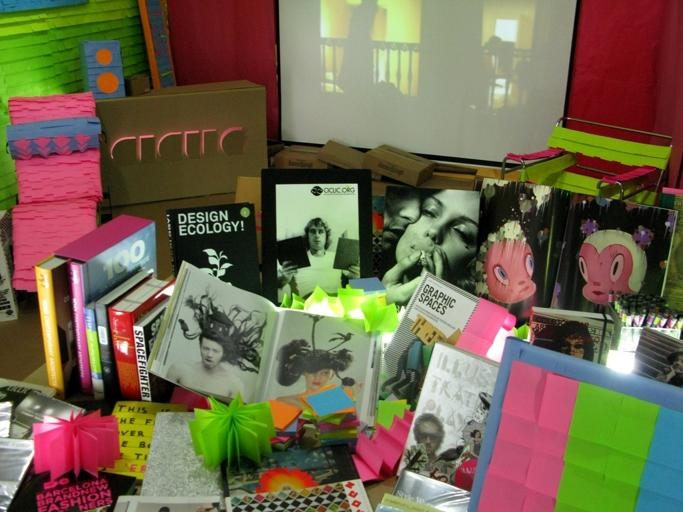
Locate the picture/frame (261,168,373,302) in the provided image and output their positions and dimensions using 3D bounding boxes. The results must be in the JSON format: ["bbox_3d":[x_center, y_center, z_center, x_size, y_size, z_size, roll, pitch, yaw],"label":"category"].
[{"bbox_3d":[-0.098,-0.067,1.903,0.431,0.622,0.042,0,2,-6],"label":"picture/frame"}]
